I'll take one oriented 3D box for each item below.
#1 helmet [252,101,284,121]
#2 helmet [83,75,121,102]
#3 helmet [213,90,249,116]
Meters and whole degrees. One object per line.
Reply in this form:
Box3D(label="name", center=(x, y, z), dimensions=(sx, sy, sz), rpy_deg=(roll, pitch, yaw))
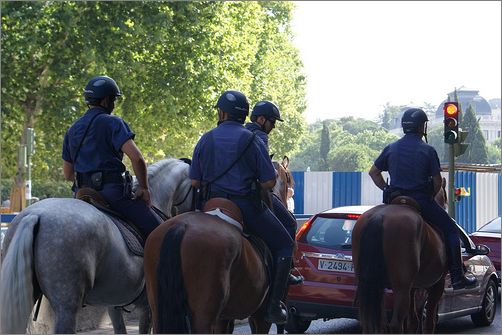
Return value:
Box3D(label="helmet", center=(0.292, -0.998, 12.891), dimensions=(0.620, 0.329, 0.439), rpy_deg=(8, -1, 5))
Box3D(label="helmet", center=(-2.421, -1.268, 12.110), dimensions=(0.478, 0.463, 0.646), rpy_deg=(4, -4, 34))
Box3D(label="helmet", center=(-0.319, -1.039, 11.937), dimensions=(0.515, 0.425, 0.666), rpy_deg=(4, -5, -33))
